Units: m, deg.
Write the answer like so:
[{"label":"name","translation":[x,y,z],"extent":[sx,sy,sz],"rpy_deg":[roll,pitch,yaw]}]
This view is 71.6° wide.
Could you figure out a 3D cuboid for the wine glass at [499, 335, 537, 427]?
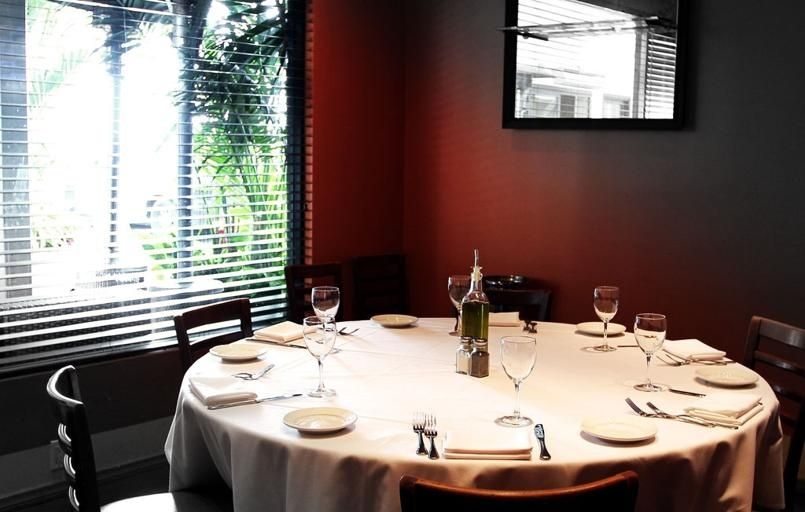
[{"label":"wine glass","translation":[0.437,0.434,2.153],"extent":[0.134,0.328,0.361],"rpy_deg":[2,9,11]}]

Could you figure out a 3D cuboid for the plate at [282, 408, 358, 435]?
[{"label":"plate","translation":[-0.297,0.595,2.009],"extent":[0.257,0.058,0.130],"rpy_deg":[0,8,4]}]

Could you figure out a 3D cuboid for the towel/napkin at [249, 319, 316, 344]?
[{"label":"towel/napkin","translation":[-0.614,0.379,2.784],"extent":[0.177,0.045,0.168],"rpy_deg":[3,7,33]}]

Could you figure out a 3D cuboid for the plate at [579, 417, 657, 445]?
[{"label":"plate","translation":[0.767,0.618,1.974],"extent":[0.266,0.052,0.125],"rpy_deg":[-1,8,-5]}]

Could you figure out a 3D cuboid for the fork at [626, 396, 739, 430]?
[{"label":"fork","translation":[1.053,0.591,2.088],"extent":[0.358,0.052,0.047],"rpy_deg":[3,44,21]}]

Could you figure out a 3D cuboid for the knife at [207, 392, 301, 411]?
[{"label":"knife","translation":[-0.581,0.564,2.162],"extent":[0.304,0.015,0.029],"rpy_deg":[-5,23,-12]}]
